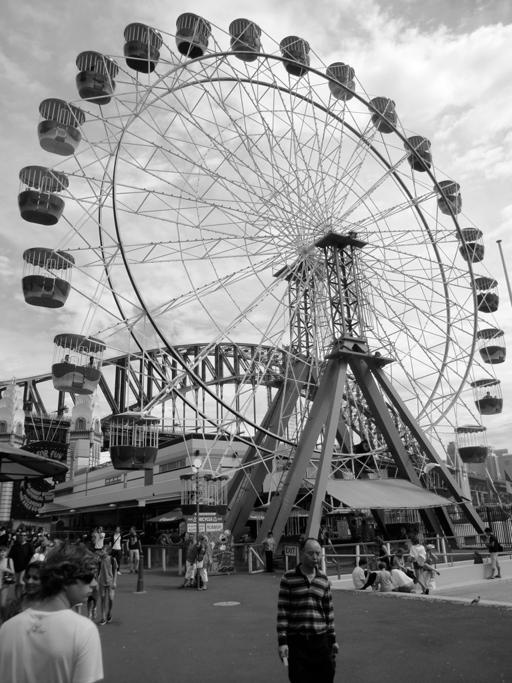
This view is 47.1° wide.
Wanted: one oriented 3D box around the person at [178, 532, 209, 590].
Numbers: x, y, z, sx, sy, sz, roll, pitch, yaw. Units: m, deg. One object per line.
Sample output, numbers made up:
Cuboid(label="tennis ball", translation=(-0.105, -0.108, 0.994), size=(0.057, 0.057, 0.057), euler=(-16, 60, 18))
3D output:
Cuboid(label="person", translation=(-1.987, 7.218, 19.145), size=(0.821, 1.508, 2.352), euler=(0, -11, -7))

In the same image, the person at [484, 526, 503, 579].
Cuboid(label="person", translation=(8.364, 7.496, 20.733), size=(0.463, 1.494, 4.044), euler=(-6, -12, 19))
